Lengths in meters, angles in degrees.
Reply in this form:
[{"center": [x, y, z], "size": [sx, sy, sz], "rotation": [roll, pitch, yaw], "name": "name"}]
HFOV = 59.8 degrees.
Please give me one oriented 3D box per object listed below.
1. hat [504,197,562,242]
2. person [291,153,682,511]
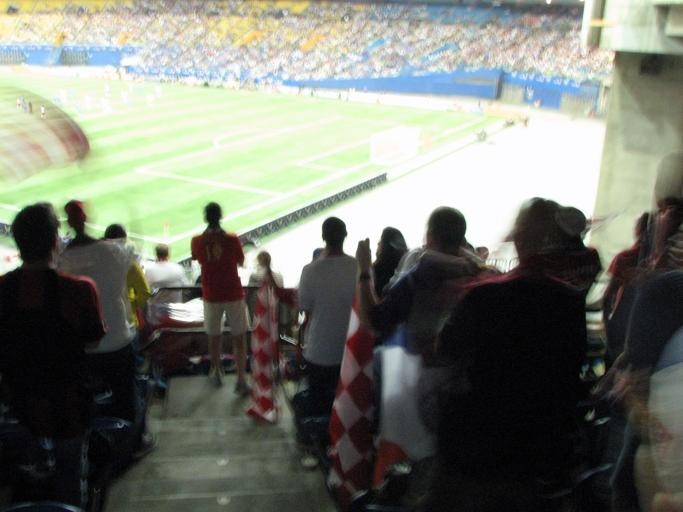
[{"center": [0.591, -0.109, 1.841], "size": [0.170, 0.131, 0.103], "rotation": [-1, 15, 2], "name": "hat"}, {"center": [0.579, 0.325, 2.159], "size": [1.304, 1.132, 0.738], "rotation": [-3, 15, -4], "name": "person"}]
